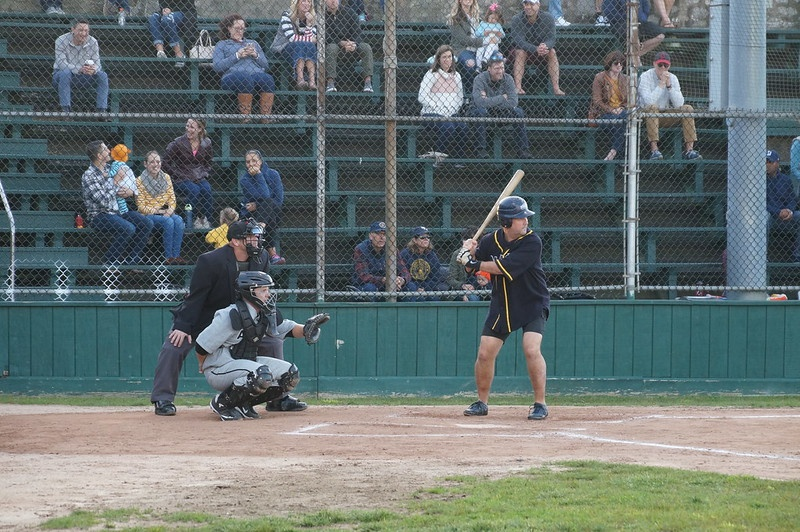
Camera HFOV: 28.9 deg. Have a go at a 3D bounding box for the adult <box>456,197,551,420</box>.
[{"bbox_3d":[1.335,0.534,19.858,1.031,2.848,0.749,-2,-2,18],"label":"adult"}]

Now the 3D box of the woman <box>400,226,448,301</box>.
[{"bbox_3d":[0.226,-0.017,22.102,0.867,1.129,0.762,5,-4,-22],"label":"woman"}]

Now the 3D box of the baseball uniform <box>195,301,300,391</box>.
[{"bbox_3d":[-1.896,1.027,19.996,1.142,1.124,1.087,1,-8,7],"label":"baseball uniform"}]

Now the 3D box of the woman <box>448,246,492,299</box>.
[{"bbox_3d":[0.951,0.177,22.433,0.729,0.769,0.565,0,0,3],"label":"woman"}]

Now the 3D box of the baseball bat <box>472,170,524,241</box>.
[{"bbox_3d":[1.335,-0.828,21.568,0.151,1.328,0.151,21,-21,41],"label":"baseball bat"}]

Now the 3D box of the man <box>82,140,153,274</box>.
[{"bbox_3d":[-4.031,-0.896,22.163,0.916,1.758,0.277,-1,-2,-11],"label":"man"}]

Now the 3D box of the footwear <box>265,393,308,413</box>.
[{"bbox_3d":[-1.469,1.802,20.312,0.466,0.186,0.213,-1,-4,2],"label":"footwear"}]

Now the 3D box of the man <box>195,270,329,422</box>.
[{"bbox_3d":[-1.713,1.017,19.769,1.741,1.859,1.231,2,2,-11],"label":"man"}]

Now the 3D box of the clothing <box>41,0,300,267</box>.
[{"bbox_3d":[-3.015,-2.129,23.672,3.136,4.342,1.103,3,-9,-18],"label":"clothing"}]

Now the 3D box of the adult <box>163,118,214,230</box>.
[{"bbox_3d":[-3.009,-1.330,22.604,0.749,1.665,0.917,0,4,-22],"label":"adult"}]

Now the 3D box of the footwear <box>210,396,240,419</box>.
[{"bbox_3d":[-2.211,1.817,19.724,0.449,0.206,0.179,21,27,26],"label":"footwear"}]

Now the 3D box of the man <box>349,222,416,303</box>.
[{"bbox_3d":[-0.312,-0.027,22.228,0.727,1.281,0.961,-5,13,-32],"label":"man"}]

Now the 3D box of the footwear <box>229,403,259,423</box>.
[{"bbox_3d":[-1.988,1.863,19.740,0.389,0.162,0.132,1,-1,5],"label":"footwear"}]

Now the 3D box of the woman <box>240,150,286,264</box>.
[{"bbox_3d":[-1.987,-0.857,22.434,0.638,1.544,0.886,-7,15,-11],"label":"woman"}]

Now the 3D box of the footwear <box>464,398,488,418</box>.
[{"bbox_3d":[1.015,1.850,20.049,0.386,0.167,0.139,2,-5,-17],"label":"footwear"}]

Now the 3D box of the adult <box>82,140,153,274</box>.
[{"bbox_3d":[-4.030,-0.896,22.153,0.914,1.758,0.262,-1,-2,-12],"label":"adult"}]

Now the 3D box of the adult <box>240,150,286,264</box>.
[{"bbox_3d":[-1.973,-0.862,22.424,0.643,1.561,0.917,-7,13,-16],"label":"adult"}]

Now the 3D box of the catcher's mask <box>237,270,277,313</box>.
[{"bbox_3d":[-1.836,0.297,19.698,0.569,0.563,0.468,-1,12,2],"label":"catcher's mask"}]

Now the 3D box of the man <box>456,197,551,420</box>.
[{"bbox_3d":[1.332,0.534,19.859,1.041,2.848,0.757,-2,-2,17],"label":"man"}]
